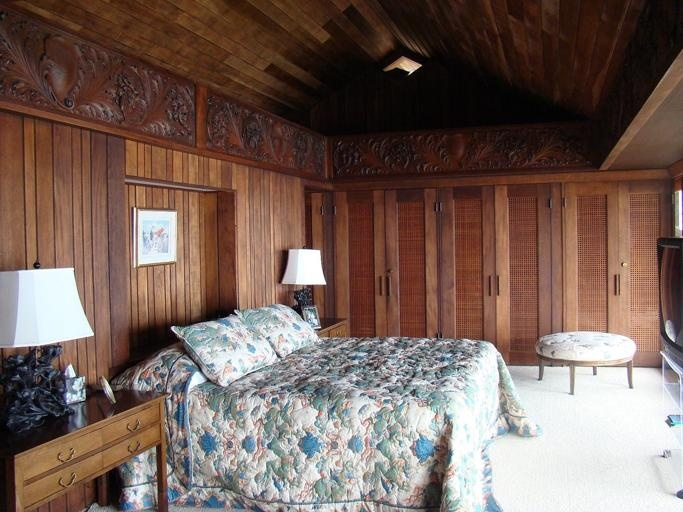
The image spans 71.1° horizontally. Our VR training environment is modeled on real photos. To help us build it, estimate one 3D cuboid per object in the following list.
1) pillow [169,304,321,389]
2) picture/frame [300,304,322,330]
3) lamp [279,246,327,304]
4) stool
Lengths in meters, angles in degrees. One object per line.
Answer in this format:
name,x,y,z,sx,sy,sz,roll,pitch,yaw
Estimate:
pillow,-0.743,0.626,3.540,0.401,0.210,0.980,19,6,16
picture/frame,-0.309,0.632,4.865,0.030,0.287,0.241,-34,-26,27
lamp,-0.399,0.214,5.200,0.470,0.580,0.519,0,5,7
stool,2.653,1.164,5.241,0.930,0.591,1.000,-3,1,5
